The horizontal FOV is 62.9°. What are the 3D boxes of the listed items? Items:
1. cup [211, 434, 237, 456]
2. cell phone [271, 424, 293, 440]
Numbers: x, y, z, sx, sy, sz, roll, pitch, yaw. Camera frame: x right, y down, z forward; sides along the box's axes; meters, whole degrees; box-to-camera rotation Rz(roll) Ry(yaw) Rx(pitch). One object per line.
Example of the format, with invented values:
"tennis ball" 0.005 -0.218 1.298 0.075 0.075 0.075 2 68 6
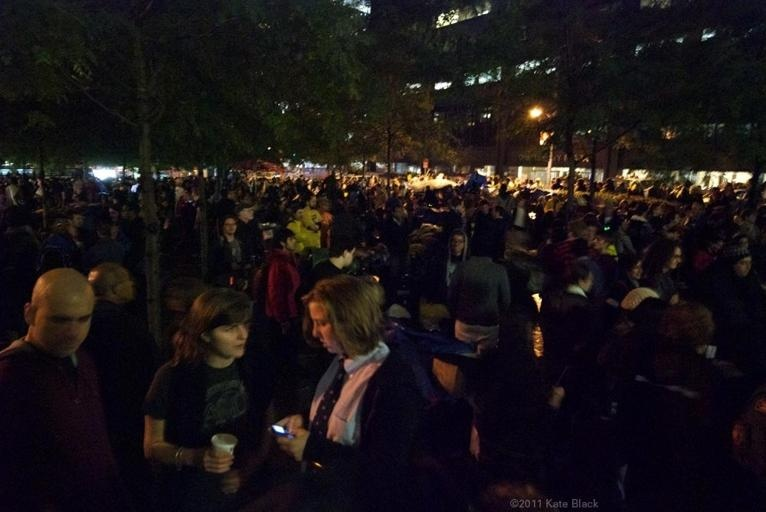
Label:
"cup" -1.287 1.514 5.069 0.177 0.132 0.172 7 8 -1
"cell phone" -0.804 1.401 4.978 0.144 0.088 0.044 17 10 -1
